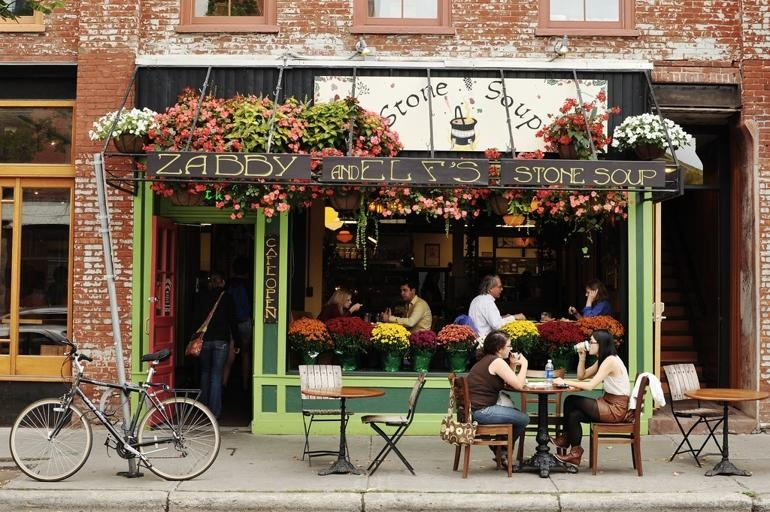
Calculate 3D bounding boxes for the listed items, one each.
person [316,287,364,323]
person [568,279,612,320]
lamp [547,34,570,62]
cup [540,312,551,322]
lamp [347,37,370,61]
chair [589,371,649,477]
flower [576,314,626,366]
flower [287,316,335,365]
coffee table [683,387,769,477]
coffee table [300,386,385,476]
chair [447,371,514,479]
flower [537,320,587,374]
[{"bbox_3d":[-0.764,0.852,22.600,0.742,1.067,0.477,2,6,-17],"label":"person"},{"bbox_3d":[3.624,0.762,22.461,0.781,0.937,0.644,1,-5,23],"label":"person"},{"bbox_3d":[2.995,-3.489,21.834,0.338,0.471,0.244,1,-2,8],"label":"lamp"},{"bbox_3d":[2.853,1.065,22.489,0.191,0.168,0.161,0,-2,-3],"label":"cup"},{"bbox_3d":[-0.393,-3.510,21.856,0.358,0.387,0.184,1,-2,0],"label":"lamp"},{"bbox_3d":[3.607,2.542,19.682,0.881,1.477,1.133,1,-2,9],"label":"chair"},{"bbox_3d":[3.663,1.386,21.444,0.867,0.783,0.758,-2,4,-34],"label":"flower"},{"bbox_3d":[-1.228,1.362,21.656,0.883,0.903,0.753,3,4,20],"label":"flower"},{"bbox_3d":[5.347,2.689,19.897,1.387,1.169,1.319,-1,-2,22],"label":"coffee table"},{"bbox_3d":[-0.659,2.673,19.769,1.364,1.087,1.273,2,-7,-12],"label":"coffee table"},{"bbox_3d":[1.481,2.542,19.536,0.985,1.512,0.961,1,-2,4],"label":"chair"},{"bbox_3d":[3.072,1.520,21.618,0.902,0.869,0.816,0,1,11],"label":"flower"}]
